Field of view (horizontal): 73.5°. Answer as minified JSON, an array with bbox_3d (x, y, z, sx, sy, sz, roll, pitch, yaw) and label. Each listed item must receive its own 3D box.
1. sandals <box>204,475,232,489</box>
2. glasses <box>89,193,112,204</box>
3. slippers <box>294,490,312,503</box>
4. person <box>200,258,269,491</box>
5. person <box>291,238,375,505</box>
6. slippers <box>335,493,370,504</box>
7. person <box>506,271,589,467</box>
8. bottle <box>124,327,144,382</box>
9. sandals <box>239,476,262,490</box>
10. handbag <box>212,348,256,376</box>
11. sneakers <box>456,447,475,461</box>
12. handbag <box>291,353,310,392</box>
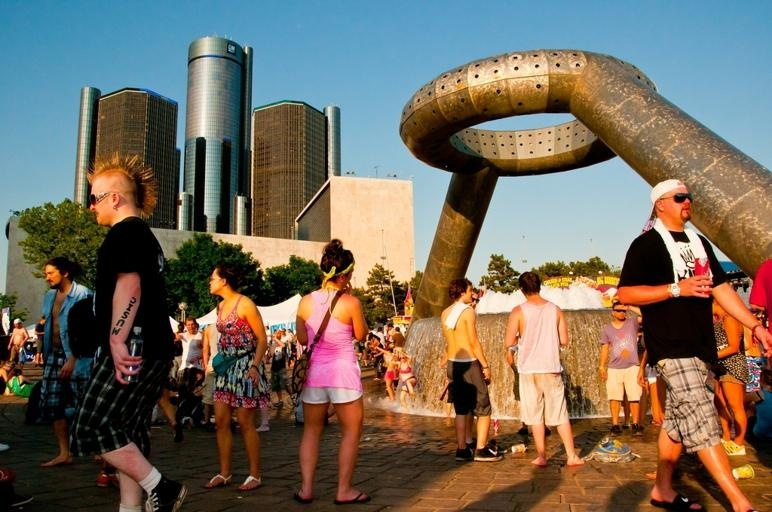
[{"bbox_3d":[-1.879,2.524,5.793,0.216,0.094,0.114,15,-22,-36],"label":"sandals"},{"bbox_3d":[-2.487,-0.496,4.486,0.109,0.045,0.116,-11,23,12],"label":"glasses"},{"bbox_3d":[-0.862,2.447,5.274,0.229,0.089,0.135,-3,-9,15],"label":"slippers"},{"bbox_3d":[-1.710,1.331,5.968,0.690,2.480,0.338,-3,-10,17],"label":"person"},{"bbox_3d":[-0.564,1.160,5.458,0.784,2.678,0.316,1,-9,-6],"label":"person"},{"bbox_3d":[-0.337,2.435,5.227,0.245,0.069,0.136,1,-9,-8],"label":"slippers"},{"bbox_3d":[2.047,1.444,6.925,0.945,2.451,0.815,-1,-6,8],"label":"person"},{"bbox_3d":[-2.015,0.791,4.161,0.117,0.444,0.133,3,-10,-20],"label":"bottle"},{"bbox_3d":[-1.476,2.493,5.694,0.108,0.082,0.190,-9,-18,27],"label":"sandals"},{"bbox_3d":[-1.766,1.212,6.010,0.411,0.162,0.272,-24,13,-23],"label":"handbag"},{"bbox_3d":[1.056,2.610,6.853,0.271,0.118,0.109,6,-9,-35],"label":"sneakers"},{"bbox_3d":[-0.910,1.227,5.451,0.162,0.489,0.284,4,-10,-23],"label":"handbag"}]
